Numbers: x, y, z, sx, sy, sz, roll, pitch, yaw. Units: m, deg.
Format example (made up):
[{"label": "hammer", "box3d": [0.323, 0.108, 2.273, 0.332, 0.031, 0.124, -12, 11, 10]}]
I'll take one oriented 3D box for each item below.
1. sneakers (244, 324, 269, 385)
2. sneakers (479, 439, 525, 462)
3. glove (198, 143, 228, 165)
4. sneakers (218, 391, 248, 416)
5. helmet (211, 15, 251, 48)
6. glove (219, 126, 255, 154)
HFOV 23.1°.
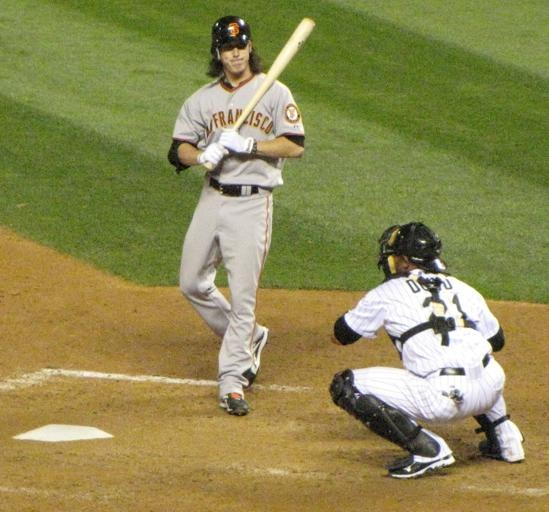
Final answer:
[{"label": "sneakers", "box3d": [-0.160, 0.875, 11.719, 0.165, 0.204, 0.516, -14, 44, 29]}, {"label": "sneakers", "box3d": [1.755, 1.528, 10.485, 0.267, 0.099, 0.163, 5, 1, 27]}, {"label": "glove", "box3d": [-0.500, -0.810, 11.061, 0.222, 0.065, 0.165, -45, 50, -17]}, {"label": "sneakers", "box3d": [-0.340, 1.241, 11.175, 0.138, 0.110, 0.267, -7, 4, -26]}, {"label": "helmet", "box3d": [-0.366, -1.866, 11.120, 0.247, 0.162, 0.325, -7, 13, -2]}, {"label": "glove", "box3d": [-0.315, -0.934, 11.046, 0.245, 0.084, 0.233, 24, 48, -13]}]
